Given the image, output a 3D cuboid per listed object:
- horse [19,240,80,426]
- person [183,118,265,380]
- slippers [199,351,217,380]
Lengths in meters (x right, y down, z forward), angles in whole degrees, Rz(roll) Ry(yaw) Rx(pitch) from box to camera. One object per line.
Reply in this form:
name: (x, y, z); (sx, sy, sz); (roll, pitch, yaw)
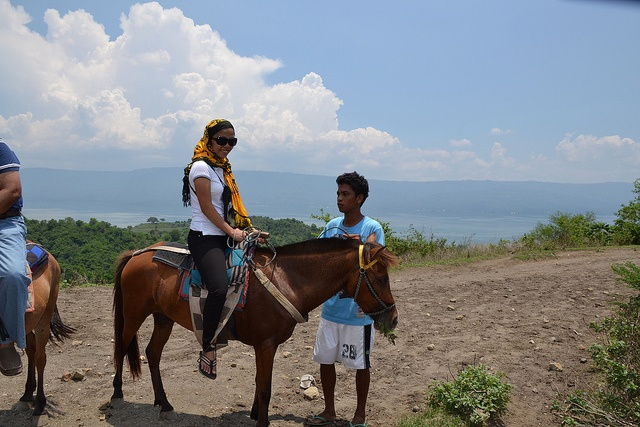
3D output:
horse: (-4.842, 1.908, 7.749); (0.558, 2.730, 1.181); (-2, 12, -2)
person: (-1.546, 0.727, 7.339); (1.059, 4.371, 1.145); (-5, 12, -16)
slippers: (-1.750, 2.367, 7.127); (0.244, 0.489, 0.232); (-3, 12, -6)
